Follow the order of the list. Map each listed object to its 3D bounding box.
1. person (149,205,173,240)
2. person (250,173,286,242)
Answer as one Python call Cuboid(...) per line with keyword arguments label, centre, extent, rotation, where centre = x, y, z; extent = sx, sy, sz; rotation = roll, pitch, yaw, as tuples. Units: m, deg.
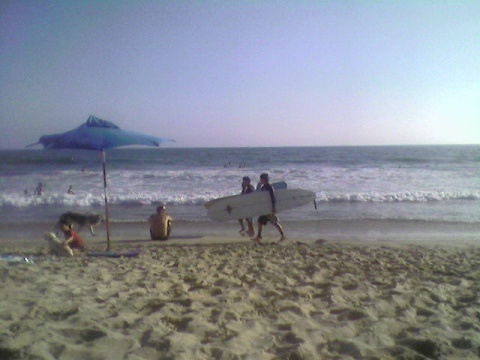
Cuboid(label="person", centre=(-1.753, 0.912, 9.423), extent=(0.531, 0.691, 0.544), rotation=(-2, 10, -26))
Cuboid(label="person", centre=(0.672, 0.598, 9.393), extent=(0.604, 1.475, 0.718), rotation=(0, 2, -1))
